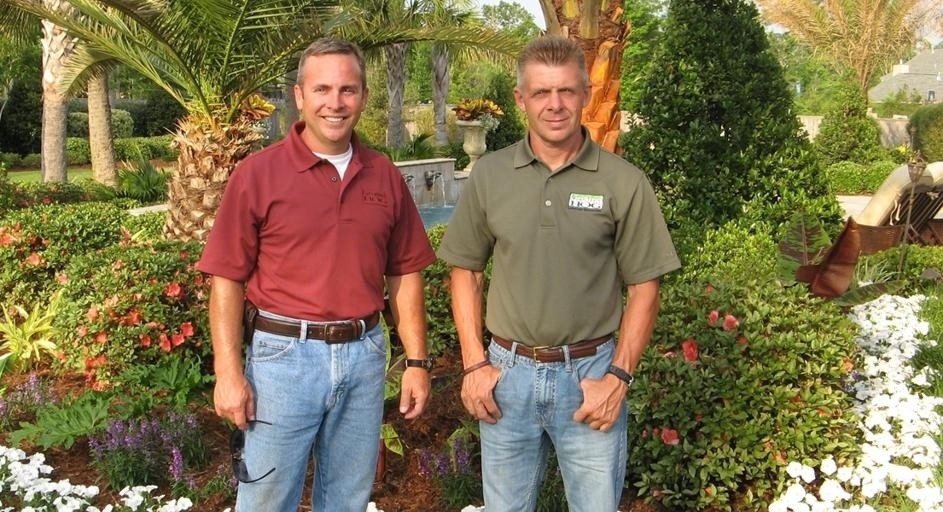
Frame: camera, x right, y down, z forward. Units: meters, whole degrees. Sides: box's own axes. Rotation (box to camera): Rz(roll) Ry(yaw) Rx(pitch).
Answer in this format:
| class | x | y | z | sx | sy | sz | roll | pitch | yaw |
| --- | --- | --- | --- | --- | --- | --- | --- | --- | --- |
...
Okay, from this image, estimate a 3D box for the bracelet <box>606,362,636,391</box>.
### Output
| class | x | y | z | sx | sy | sz | roll | pitch | yaw |
| --- | --- | --- | --- | --- | --- | --- | --- | --- | --- |
| bracelet | 1.266 | 0.995 | 5.449 | 0.253 | 0.148 | 0.257 | 3 | -6 | 18 |
